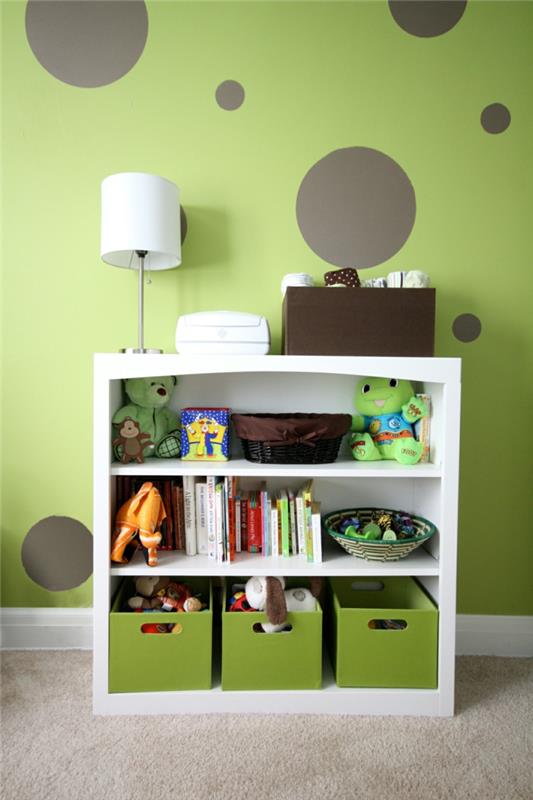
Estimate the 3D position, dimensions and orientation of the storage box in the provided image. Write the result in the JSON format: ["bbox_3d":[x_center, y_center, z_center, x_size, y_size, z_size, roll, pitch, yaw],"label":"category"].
[{"bbox_3d":[0.241,-0.205,1.764,0.377,0.172,0.091,3,11,10],"label":"storage box"}]

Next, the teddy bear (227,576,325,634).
[{"bbox_3d":[0.022,0.513,1.759,0.233,0.149,0.130,1,-3,-5],"label":"teddy bear"}]

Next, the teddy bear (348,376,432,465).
[{"bbox_3d":[0.344,0.042,1.938,0.237,0.267,0.159,-1,-1,27],"label":"teddy bear"}]

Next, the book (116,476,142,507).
[{"bbox_3d":[-0.388,0.251,1.890,0.018,0.076,0.074,6,-19,47],"label":"book"}]

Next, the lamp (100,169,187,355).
[{"bbox_3d":[-0.341,-0.364,1.848,0.219,0.465,0.329,-1,11,-8],"label":"lamp"}]

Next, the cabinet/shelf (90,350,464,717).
[{"bbox_3d":[0.020,0.365,1.787,0.873,0.882,0.273,1,1,2],"label":"cabinet/shelf"}]
